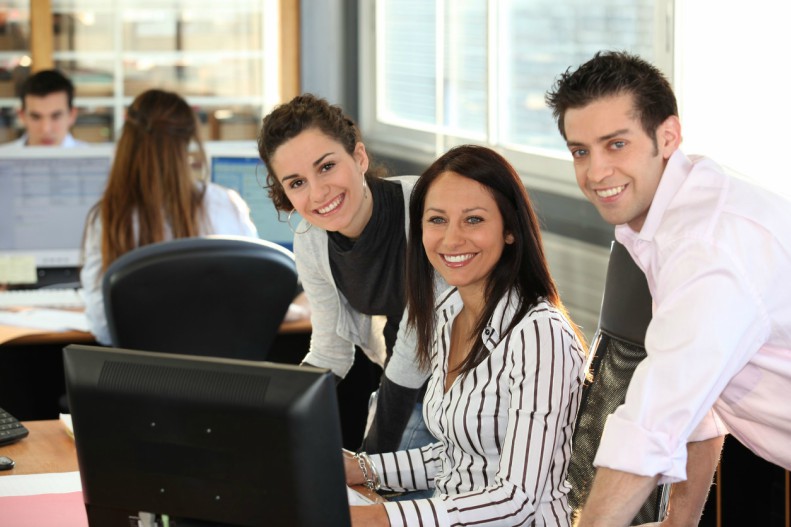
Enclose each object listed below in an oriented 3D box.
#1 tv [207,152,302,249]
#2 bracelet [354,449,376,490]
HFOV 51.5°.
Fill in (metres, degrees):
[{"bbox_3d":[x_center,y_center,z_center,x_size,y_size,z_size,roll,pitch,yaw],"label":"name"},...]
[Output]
[{"bbox_3d":[-0.435,-0.206,2.497,0.262,0.307,0.011,8,29,17],"label":"tv"},{"bbox_3d":[-0.078,0.533,2.140,0.026,0.080,0.057,-14,13,-1],"label":"bracelet"}]
